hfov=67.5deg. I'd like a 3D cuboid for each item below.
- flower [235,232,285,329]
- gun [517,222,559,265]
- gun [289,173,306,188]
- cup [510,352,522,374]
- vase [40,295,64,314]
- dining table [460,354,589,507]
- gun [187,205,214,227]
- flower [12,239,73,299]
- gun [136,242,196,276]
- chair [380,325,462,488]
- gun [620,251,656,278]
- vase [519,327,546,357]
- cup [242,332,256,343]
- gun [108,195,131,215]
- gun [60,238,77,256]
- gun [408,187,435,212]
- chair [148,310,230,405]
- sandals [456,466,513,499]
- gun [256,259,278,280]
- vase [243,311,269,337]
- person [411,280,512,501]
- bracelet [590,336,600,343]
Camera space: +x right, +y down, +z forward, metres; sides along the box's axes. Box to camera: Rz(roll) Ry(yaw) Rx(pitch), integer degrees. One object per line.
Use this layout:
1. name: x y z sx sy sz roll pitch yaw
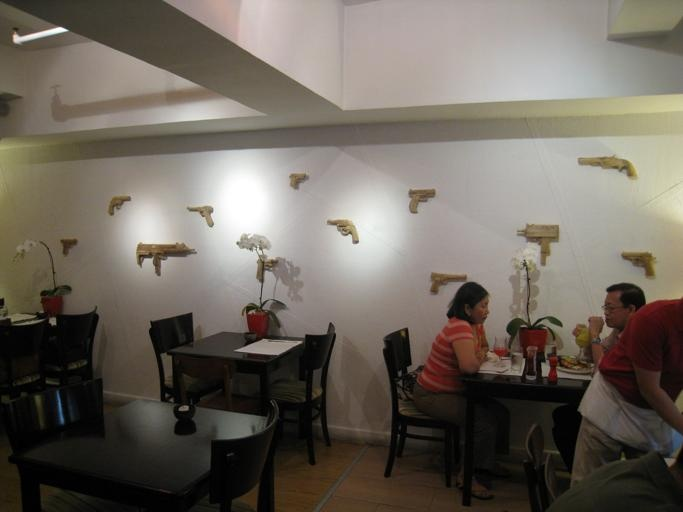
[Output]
1. flower: -0.708 0.232 4.360 0.357 0.856 0.354 -7 10 -40
2. gun: 1.466 -0.093 3.779 0.274 0.310 0.041 1 5 16
3. gun: -0.360 -0.635 4.308 0.153 0.128 0.024 1 8 8
4. cup: 1.174 0.720 3.432 0.091 0.157 0.090 1 -7 0
5. vase: -2.872 0.482 5.087 0.200 0.226 0.210 -3 -4 34
6. dining table: 1.086 0.941 3.390 0.919 0.971 0.743 1 -1 14
7. gun: -1.275 -0.363 4.625 0.285 0.196 0.037 4 9 26
8. flower: -3.105 0.114 5.173 0.734 0.549 0.260 4 9 26
9. gun: -1.631 0.027 4.757 0.663 0.314 0.044 3 8 21
10. chair: 0.589 1.091 3.766 0.534 1.037 0.567 0 -5 -1
11. gun: 2.100 0.053 3.597 0.156 0.157 0.029 4 8 25
12. vase: 1.369 0.618 3.656 0.175 0.173 0.159 1 -1 -12
13. cup: -0.743 0.662 4.160 0.072 0.060 0.073 -1 -1 0
14. gun: -2.157 -0.495 4.918 0.192 0.197 0.062 1 2 9
15. gun: -2.747 -0.096 5.142 0.215 0.178 0.029 3 8 20
16. gun: 0.637 -0.446 4.005 0.170 0.183 0.050 3 0 11
17. chair: -1.242 0.817 4.159 0.472 0.697 0.506 -15 -11 7
18. sandals: 1.022 1.572 3.592 0.226 0.087 0.244 -3 4 27
19. gun: -0.652 0.090 4.402 0.159 0.193 0.082 3 14 0
20. vase: -0.693 0.550 4.231 0.186 0.261 0.200 -1 -2 1
21. person: 0.838 0.874 3.594 0.623 1.378 0.515 4 5 20
22. bracelet: 1.677 0.549 3.371 0.036 0.027 0.042 3 3 -9
